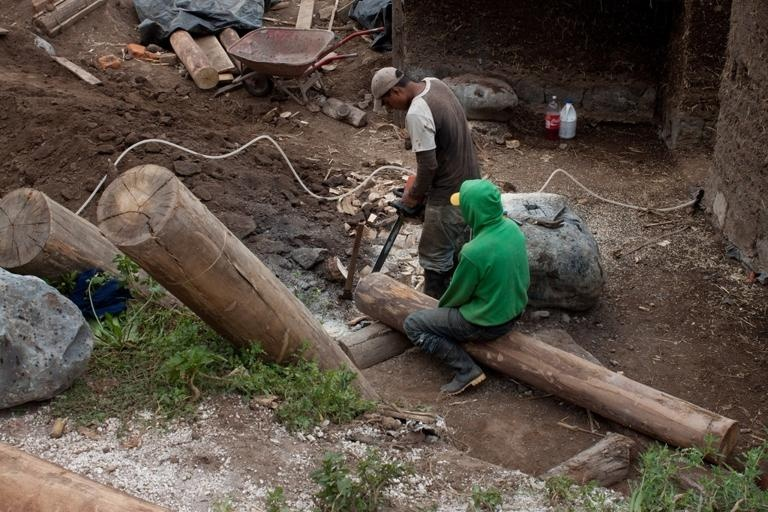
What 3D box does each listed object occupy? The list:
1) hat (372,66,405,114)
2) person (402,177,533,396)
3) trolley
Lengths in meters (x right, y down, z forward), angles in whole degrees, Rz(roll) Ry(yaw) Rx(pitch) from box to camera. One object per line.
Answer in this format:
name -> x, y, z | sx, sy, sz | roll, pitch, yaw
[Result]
hat -> 0.015, -1.872, 6.779 | 0.495, 0.295, 0.331 | -50, 21, 11
person -> 0.884, 0.360, 6.081 | 1.372, 1.774, 0.837 | -40, 51, -20
trolley -> -1.407, -3.317, 10.794 | 2.324, 1.023, 1.066 | 8, 54, 3
